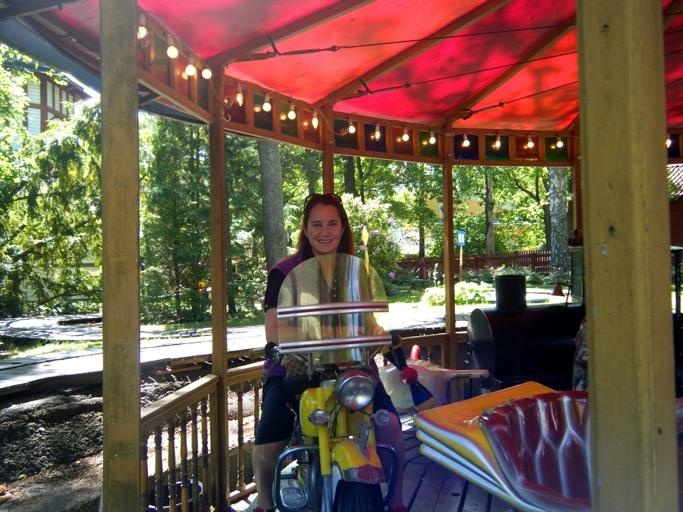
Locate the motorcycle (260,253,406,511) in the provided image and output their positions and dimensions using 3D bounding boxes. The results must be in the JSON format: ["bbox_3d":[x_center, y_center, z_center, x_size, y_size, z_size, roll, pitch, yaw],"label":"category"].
[{"bbox_3d":[-0.078,0.743,3.294,0.841,1.505,0.813,-4,-3,15],"label":"motorcycle"}]

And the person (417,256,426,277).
[{"bbox_3d":[3.206,0.491,22.989,0.309,0.821,0.799,-3,-3,6],"label":"person"}]

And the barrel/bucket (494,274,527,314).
[{"bbox_3d":[1.791,0.402,6.076,0.338,0.453,0.353,1,-2,0],"label":"barrel/bucket"}]
